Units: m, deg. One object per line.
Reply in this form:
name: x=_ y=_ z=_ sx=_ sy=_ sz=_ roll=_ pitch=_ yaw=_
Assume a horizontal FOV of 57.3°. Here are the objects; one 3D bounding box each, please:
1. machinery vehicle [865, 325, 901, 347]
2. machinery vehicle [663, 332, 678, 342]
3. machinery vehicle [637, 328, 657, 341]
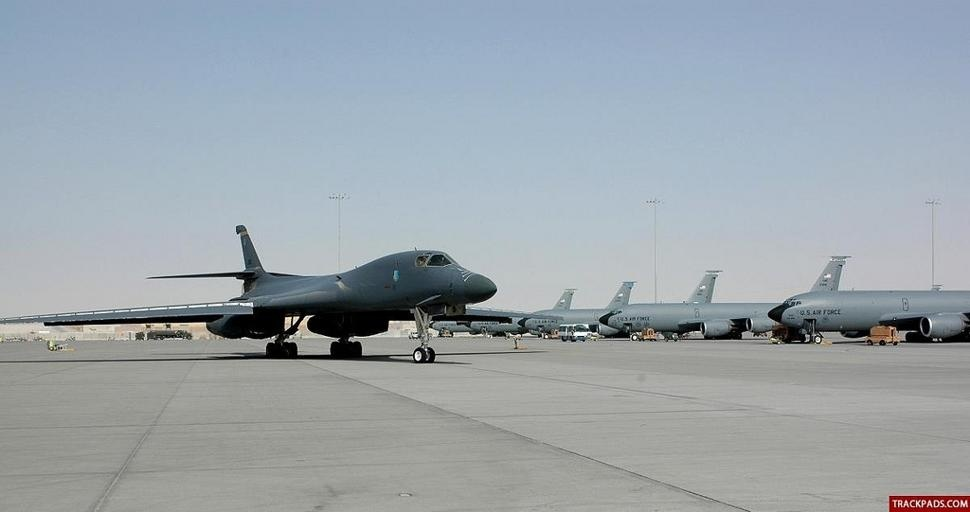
machinery vehicle: x=28.651 y=5.801 z=64.518 sx=1.903 sy=1.286 sz=2.593 roll=2 pitch=0 yaw=-32
machinery vehicle: x=18.223 y=8.008 z=87.763 sx=1.084 sy=0.800 sz=1.661 roll=2 pitch=-12 yaw=-16
machinery vehicle: x=15.134 y=7.586 z=85.491 sx=1.240 sy=0.780 sz=1.768 roll=1 pitch=-4 yaw=-36
